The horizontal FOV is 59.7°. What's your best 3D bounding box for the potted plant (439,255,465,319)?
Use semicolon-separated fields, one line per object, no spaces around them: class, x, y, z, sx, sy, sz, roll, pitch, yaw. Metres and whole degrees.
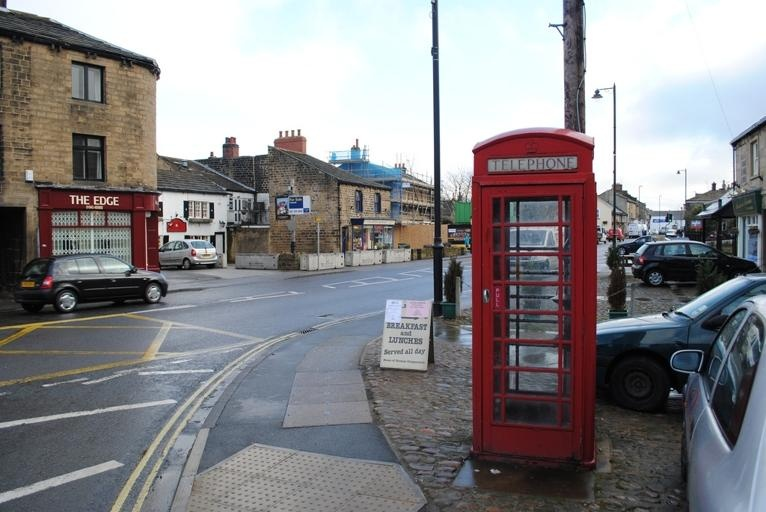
potted plant;1.938;0.855;18.799;0.559;1.392;2.029;1;8;6

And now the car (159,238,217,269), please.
car;-12.230;-0.187;40.429;2.844;1.209;1.689;5;5;37
